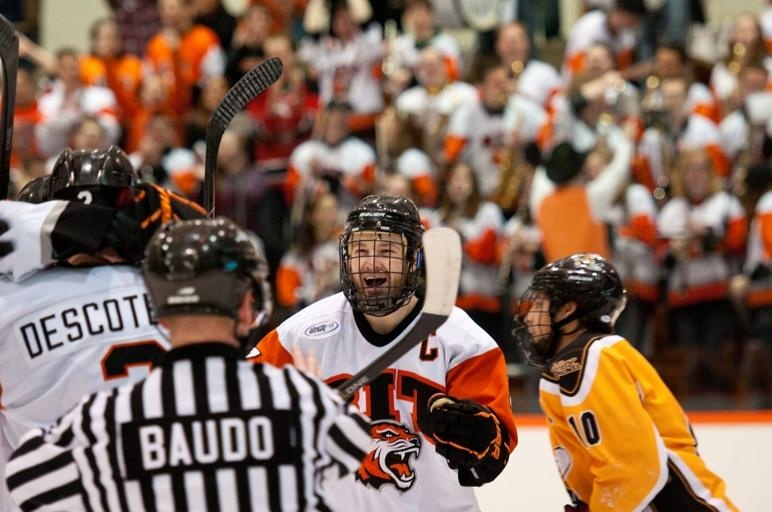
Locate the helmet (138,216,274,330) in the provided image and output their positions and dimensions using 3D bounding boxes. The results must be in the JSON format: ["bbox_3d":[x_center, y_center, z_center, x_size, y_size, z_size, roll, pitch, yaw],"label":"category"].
[{"bbox_3d":[-0.956,0.079,7.039,0.586,0.611,0.481,-5,2,-18],"label":"helmet"}]

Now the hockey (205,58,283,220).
[{"bbox_3d":[-0.999,-0.714,8.655,0.568,0.300,1.591,-9,-35,-14],"label":"hockey"}]
